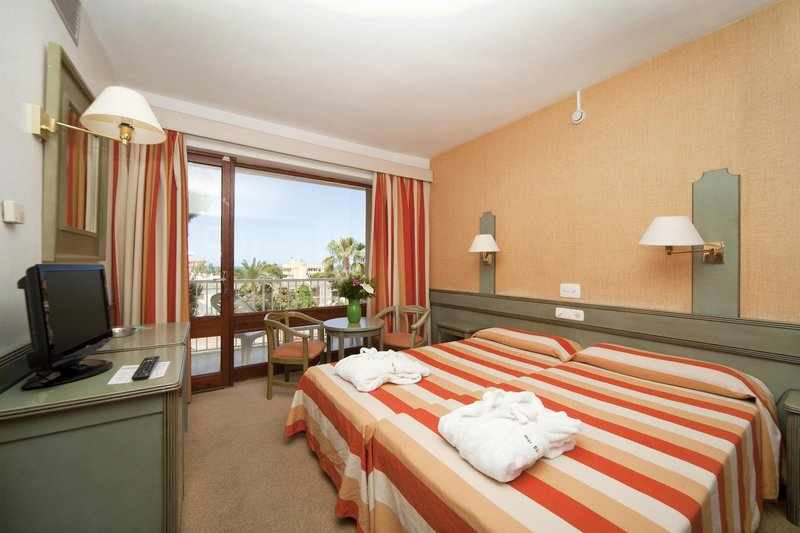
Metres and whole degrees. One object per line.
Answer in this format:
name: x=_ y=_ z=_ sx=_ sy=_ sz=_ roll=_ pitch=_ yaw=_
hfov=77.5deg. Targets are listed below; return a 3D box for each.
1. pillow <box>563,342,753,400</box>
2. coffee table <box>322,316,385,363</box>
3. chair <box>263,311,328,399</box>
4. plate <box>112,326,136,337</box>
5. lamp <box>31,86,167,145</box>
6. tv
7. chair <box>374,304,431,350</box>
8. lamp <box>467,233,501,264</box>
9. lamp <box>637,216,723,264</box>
pillow: x=2.189 y=0.838 z=4.035 sx=0.802 sy=0.089 sz=0.310 roll=8 pitch=22 yaw=38
coffee table: x=-0.507 y=0.749 z=5.448 sx=0.525 sy=0.591 sz=0.542 roll=0 pitch=-4 yaw=-21
chair: x=-1.100 y=0.927 z=5.314 sx=0.604 sy=0.861 sz=0.727 roll=1 pitch=5 yaw=13
plate: x=-2.308 y=0.547 z=4.165 sx=0.097 sy=0.044 sz=0.136 roll=1 pitch=-2 yaw=11
lamp: x=-2.154 y=-1.071 z=3.612 sx=0.785 sy=0.368 sz=0.513 roll=-4 pitch=4 yaw=-31
tv: x=-2.353 y=0.375 z=3.461 sx=0.456 sy=0.778 sz=0.805 roll=-5 pitch=4 yaw=-4
chair: x=0.011 y=0.717 z=6.069 sx=0.562 sy=0.716 sz=0.526 roll=0 pitch=0 yaw=28
lamp: x=0.953 y=-0.195 z=5.482 sx=0.331 sy=0.309 sz=0.337 roll=-5 pitch=-11 yaw=38
lamp: x=2.320 y=-0.203 z=4.122 sx=0.562 sy=0.337 sz=0.379 roll=-1 pitch=0 yaw=-16
